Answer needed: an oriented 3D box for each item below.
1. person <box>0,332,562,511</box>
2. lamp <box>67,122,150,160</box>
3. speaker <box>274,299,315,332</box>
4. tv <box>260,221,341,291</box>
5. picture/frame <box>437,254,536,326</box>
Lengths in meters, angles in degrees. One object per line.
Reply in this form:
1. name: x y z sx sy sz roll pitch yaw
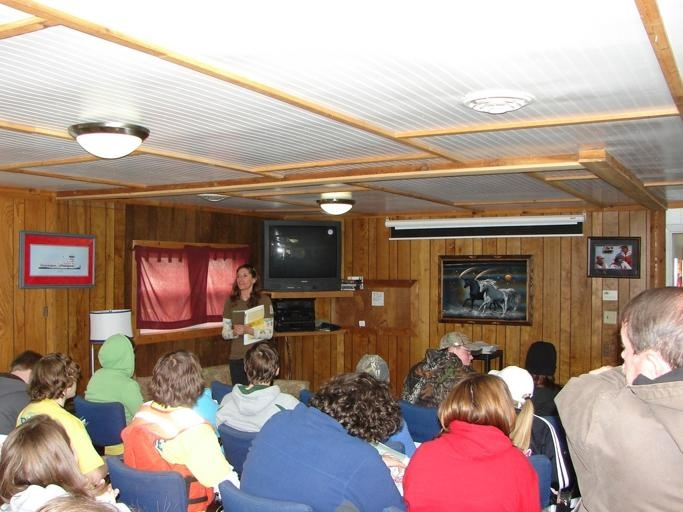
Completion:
1. person: -0.002 0.904 2.585 2.073 0.801 1.571 -2 -6 13
2. lamp: -1.246 -0.634 2.683 0.294 0.078 0.254 0 -1 1
3. speaker: -0.685 0.857 7.220 0.623 0.447 0.502 1 -6 -12
4. tv: -0.588 -0.013 6.810 1.191 0.826 0.564 3 -7 -22
5. picture/frame: 2.010 0.480 7.026 0.127 0.976 1.602 3 -4 -35
